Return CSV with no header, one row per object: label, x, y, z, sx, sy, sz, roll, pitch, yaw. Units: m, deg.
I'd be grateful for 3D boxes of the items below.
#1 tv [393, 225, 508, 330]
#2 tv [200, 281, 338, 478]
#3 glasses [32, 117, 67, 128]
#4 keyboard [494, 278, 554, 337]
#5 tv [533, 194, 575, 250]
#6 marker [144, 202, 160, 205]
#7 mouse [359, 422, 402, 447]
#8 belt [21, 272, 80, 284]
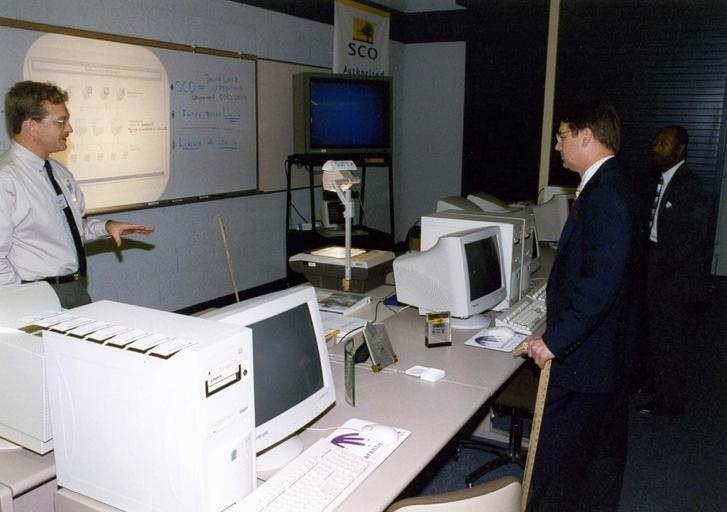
tv,0.446,0.051,3.125,0.595,0.599,0.529,7,18,30
tv,-0.316,0.459,1.877,0.314,0.591,0.552,5,12,27
glasses,-1.670,-0.722,2.899,0.058,0.072,0.178,10,18,40
keyboard,0.846,0.275,3.063,0.170,0.060,0.570,1,31,3
tv,1.448,-0.258,4.110,0.232,0.375,0.441,12,24,33
marker,-1.782,-0.444,4.561,0.023,0.027,0.107,18,21,18
mouse,0.065,0.675,2.027,0.144,0.031,0.093,0,14,10
belt,-1.669,0.130,2.988,0.172,0.046,0.170,9,12,44
